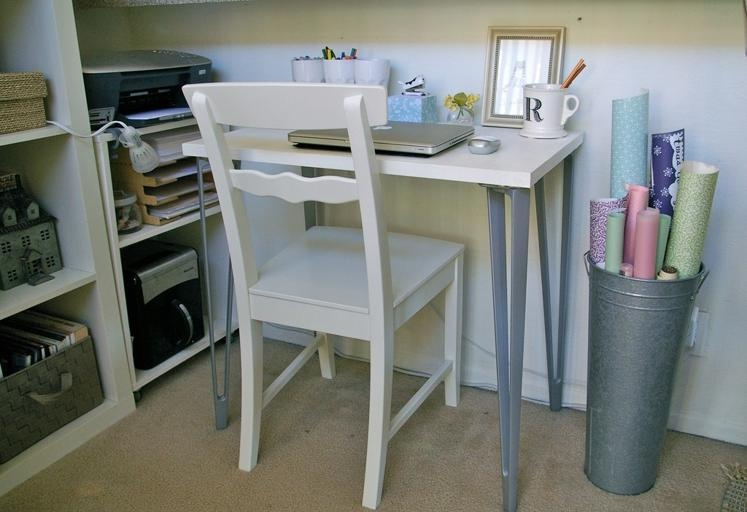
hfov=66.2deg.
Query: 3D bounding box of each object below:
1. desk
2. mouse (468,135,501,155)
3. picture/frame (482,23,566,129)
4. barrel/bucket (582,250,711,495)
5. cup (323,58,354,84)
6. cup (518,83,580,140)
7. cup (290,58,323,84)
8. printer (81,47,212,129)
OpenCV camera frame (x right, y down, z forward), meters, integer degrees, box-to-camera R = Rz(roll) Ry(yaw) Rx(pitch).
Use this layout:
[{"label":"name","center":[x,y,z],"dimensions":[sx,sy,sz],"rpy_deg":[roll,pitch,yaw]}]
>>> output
[{"label":"desk","center":[0.070,0.210,2.402],"dimensions":[1.499,1.455,1.132],"rpy_deg":[7,25,25]},{"label":"mouse","center":[0.323,-0.326,1.669],"dimensions":[0.087,0.041,0.109],"rpy_deg":[6,25,17]},{"label":"picture/frame","center":[0.495,-0.588,1.842],"dimensions":[0.311,0.426,0.032],"rpy_deg":[9,17,20]},{"label":"barrel/bucket","center":[0.773,0.379,1.722],"dimensions":[0.303,0.712,0.191],"rpy_deg":[7,25,19]},{"label":"cup","center":[-0.112,-0.650,2.019],"dimensions":[0.101,0.077,0.093],"rpy_deg":[-1,25,0]},{"label":"cup","center":[0.532,-0.443,1.796],"dimensions":[0.180,0.144,0.152],"rpy_deg":[14,34,23]},{"label":"cup","center":[-0.227,-0.648,2.057],"dimensions":[0.103,0.089,0.118],"rpy_deg":[14,27,28]},{"label":"printer","center":[-0.803,-0.583,2.044],"dimensions":[0.333,0.200,0.463],"rpy_deg":[19,33,27]}]
